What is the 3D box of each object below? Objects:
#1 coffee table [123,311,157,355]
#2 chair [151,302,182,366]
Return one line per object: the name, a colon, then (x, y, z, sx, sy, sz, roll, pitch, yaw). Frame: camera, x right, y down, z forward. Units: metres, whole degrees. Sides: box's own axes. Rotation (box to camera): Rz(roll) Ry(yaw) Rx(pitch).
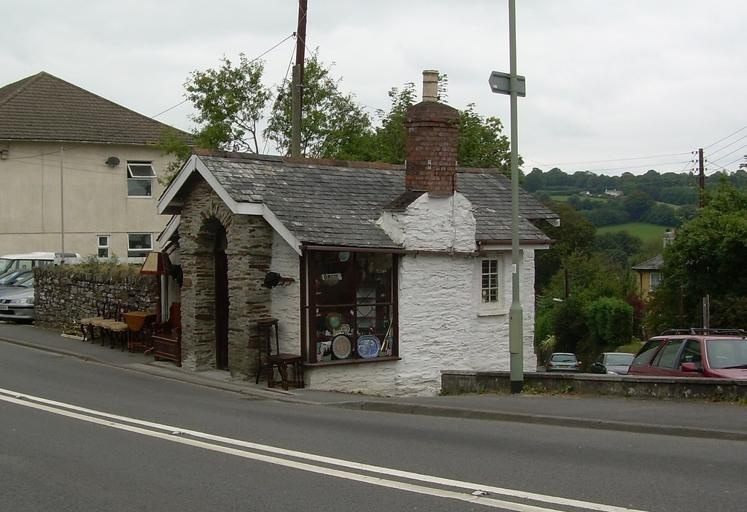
coffee table: (-7.285, 2.451, 31.028, 1.137, 1.019, 0.863, -6, -9, 40)
chair: (-6.065, 2.344, 29.843, 1.136, 1.582, 0.924, 6, 12, 34)
